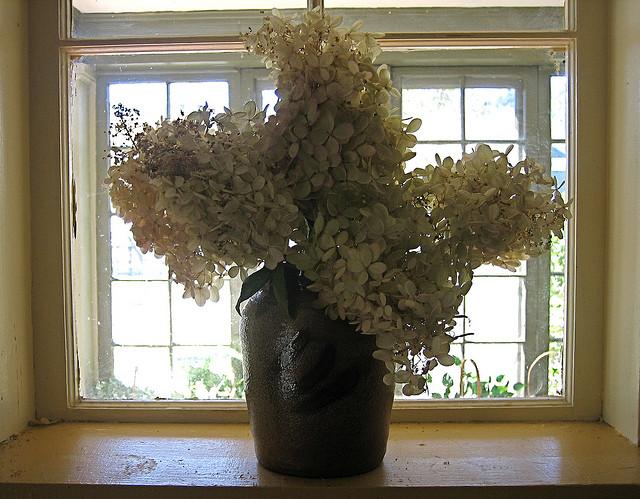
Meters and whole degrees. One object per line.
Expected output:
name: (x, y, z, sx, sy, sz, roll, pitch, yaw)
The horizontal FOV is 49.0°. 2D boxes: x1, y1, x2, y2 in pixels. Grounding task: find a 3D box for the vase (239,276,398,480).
vase: (-0.001, 0.239, 1.515, 0.341, 0.432, 0.350, 1, -2, -42)
